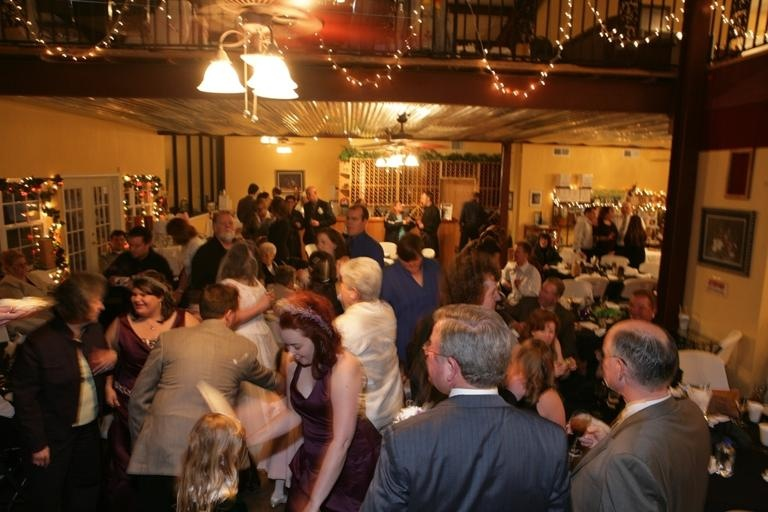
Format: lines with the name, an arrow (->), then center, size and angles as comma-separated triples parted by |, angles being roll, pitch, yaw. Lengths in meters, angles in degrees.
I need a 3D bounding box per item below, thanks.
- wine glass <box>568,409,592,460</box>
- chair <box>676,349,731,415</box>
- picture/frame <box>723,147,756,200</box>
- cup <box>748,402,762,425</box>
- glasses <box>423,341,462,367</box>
wine glass -> 1.492, 1.336, 4.370 | 0.167, 0.292, 0.436 | 2, 9, 18
chair -> 3.134, 1.155, 5.551 | 0.523, 0.693, 0.485 | 1, 1, 24
picture/frame -> 4.153, -0.959, 6.696 | 0.283, 0.554, 0.031 | 1, 10, 0
cup -> 3.189, 1.335, 4.898 | 0.140, 0.145, 0.147 | -3, 5, 0
glasses -> 0.343, 0.576, 3.463 | 0.154, 0.051, 0.156 | 28, 4, 27
